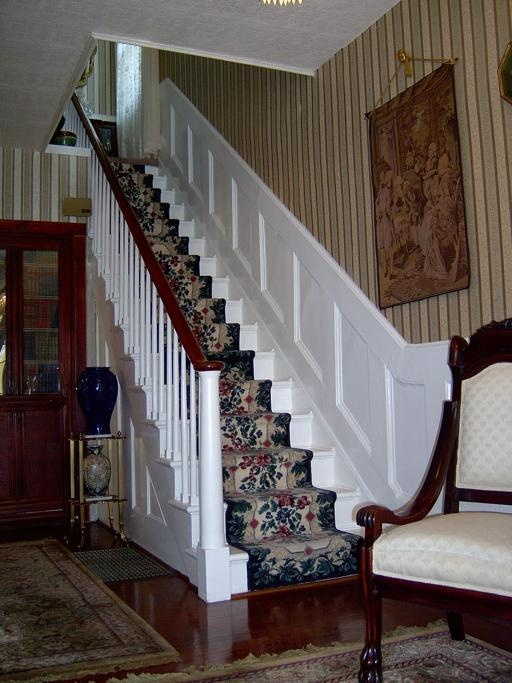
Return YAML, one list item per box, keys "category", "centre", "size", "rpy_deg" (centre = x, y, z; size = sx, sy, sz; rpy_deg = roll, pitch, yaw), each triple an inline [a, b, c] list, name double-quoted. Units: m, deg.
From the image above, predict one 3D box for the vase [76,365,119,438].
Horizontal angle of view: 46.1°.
- category: "vase"
  centre: [-1.064, 0.374, 4.072]
  size: [0.337, 0.633, 0.359]
  rpy_deg: [-1, 2, -25]

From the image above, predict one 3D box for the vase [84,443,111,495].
- category: "vase"
  centre: [-1.054, 0.845, 3.923]
  size: [0.217, 0.330, 0.239]
  rpy_deg: [-2, -5, -3]

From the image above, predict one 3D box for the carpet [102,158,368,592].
- category: "carpet"
  centre: [-0.277, -0.065, 4.034]
  size: [0.804, 1.349, 3.421]
  rpy_deg: [-1, 24, -18]
